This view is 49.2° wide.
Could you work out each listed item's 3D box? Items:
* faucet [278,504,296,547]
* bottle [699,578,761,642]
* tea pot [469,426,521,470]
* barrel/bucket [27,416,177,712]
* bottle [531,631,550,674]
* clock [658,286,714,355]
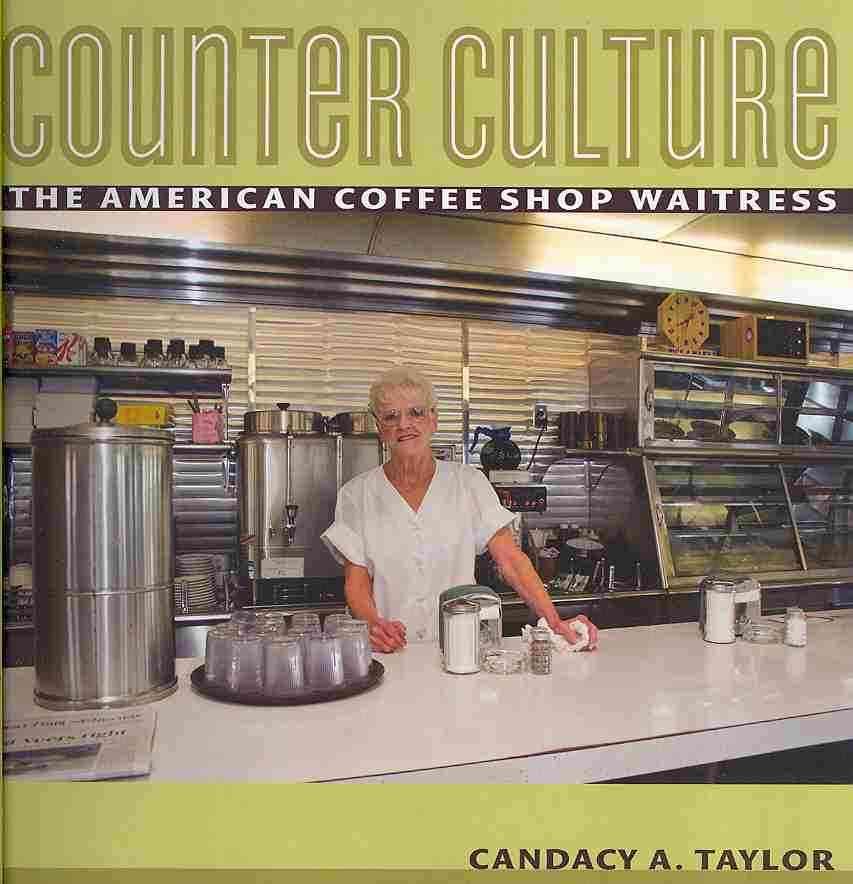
[{"bbox_3d":[-0.633,0.369,4.188,0.065,0.197,0.110,3,12,5],"label":"faucet"},{"bbox_3d":[0.980,0.518,3.024,0.203,0.223,0.174,1,-3,-27],"label":"bottle"},{"bbox_3d":[0.355,0.034,5.044,0.258,0.284,0.195,-3,-2,14],"label":"tea pot"},{"bbox_3d":[-0.829,0.313,2.349,0.350,0.719,0.205,-2,13,-19],"label":"barrel/bucket"},{"bbox_3d":[0.315,0.592,2.612,0.061,0.105,0.114,3,13,6],"label":"bottle"},{"bbox_3d":[1.348,-0.640,4.962,0.266,0.316,0.234,9,14,28],"label":"clock"}]
